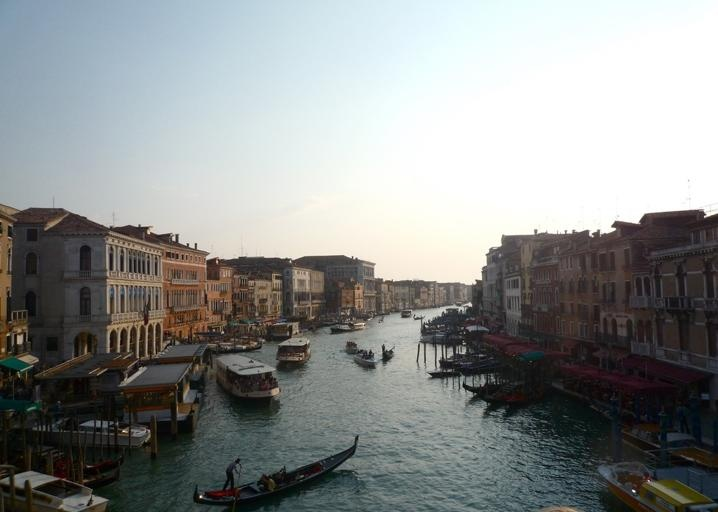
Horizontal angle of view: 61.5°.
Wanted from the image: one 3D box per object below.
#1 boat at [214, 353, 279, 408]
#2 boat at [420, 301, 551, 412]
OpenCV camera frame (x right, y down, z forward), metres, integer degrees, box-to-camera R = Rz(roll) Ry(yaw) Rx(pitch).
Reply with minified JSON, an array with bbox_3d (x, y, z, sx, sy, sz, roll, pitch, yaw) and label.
[{"bbox_3d":[-14.048,14.622,73.884,5.205,4.039,15.029,-5,6,-27],"label":"boat"},{"bbox_3d":[18.691,14.550,88.351,11.782,7.249,20.210,-3,-2,-13],"label":"boat"}]
